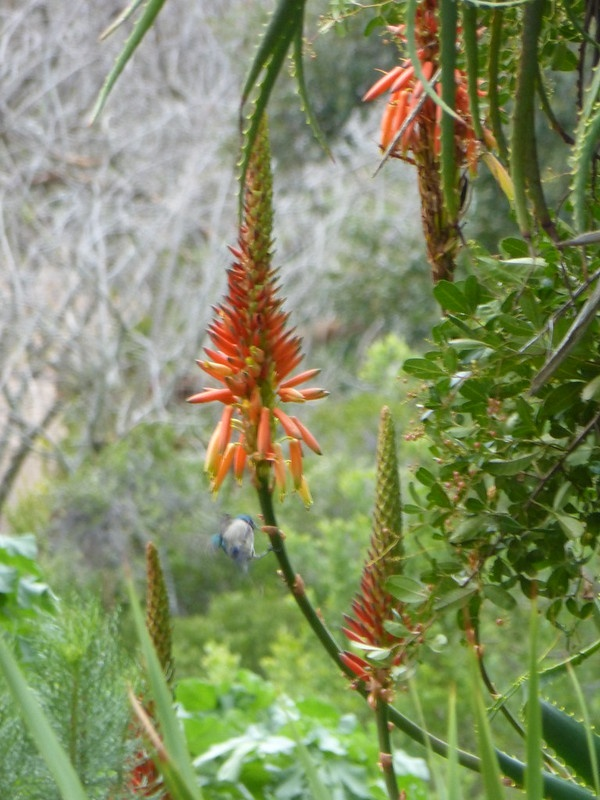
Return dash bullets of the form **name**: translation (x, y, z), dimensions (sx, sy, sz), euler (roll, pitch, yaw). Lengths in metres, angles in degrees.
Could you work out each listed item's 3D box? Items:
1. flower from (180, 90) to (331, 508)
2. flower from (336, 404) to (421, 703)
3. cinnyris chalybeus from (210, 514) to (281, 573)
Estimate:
- **flower**: translation (-0.062, -0.082, 1.428), dimensions (0.152, 0.411, 0.258), euler (-10, -14, 0)
- **flower**: translation (0.083, 0.188, 1.466), dimensions (0.106, 0.324, 0.191), euler (-10, -14, 1)
- **cinnyris chalybeus**: translation (-0.079, 0.173, 1.440), dimensions (0.080, 0.033, 0.069), euler (20, 1, 23)
